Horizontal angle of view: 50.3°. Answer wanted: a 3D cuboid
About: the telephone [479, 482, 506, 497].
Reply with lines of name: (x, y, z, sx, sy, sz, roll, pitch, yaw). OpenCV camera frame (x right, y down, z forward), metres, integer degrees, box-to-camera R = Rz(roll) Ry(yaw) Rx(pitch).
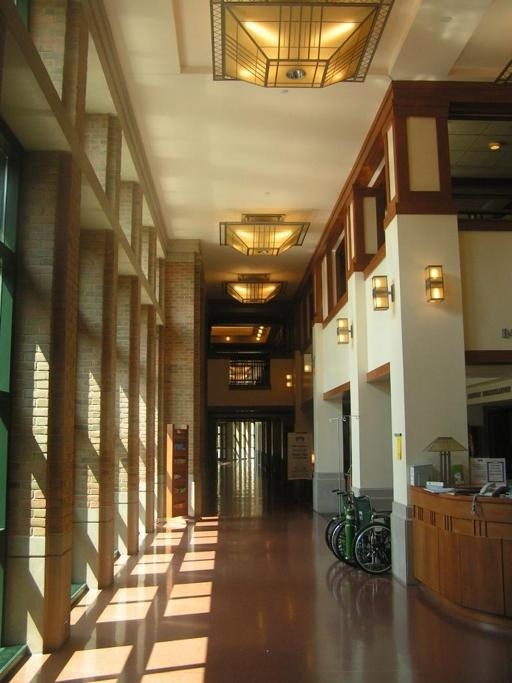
telephone: (2.502, 1.581, 5.773, 0.275, 0.125, 0.227, 0, -4, 16)

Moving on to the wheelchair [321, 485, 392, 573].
wheelchair: (1.507, 2.843, 8.232, 1.055, 1.409, 0.927, 1, -5, -5)

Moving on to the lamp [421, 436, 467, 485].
lamp: (2.418, 1.522, 6.944, 0.474, 0.620, 0.508, -3, -11, 18)

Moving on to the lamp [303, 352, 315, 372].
lamp: (1.799, 0.760, 19.011, 0.470, 0.555, 0.540, -2, 12, 0)
